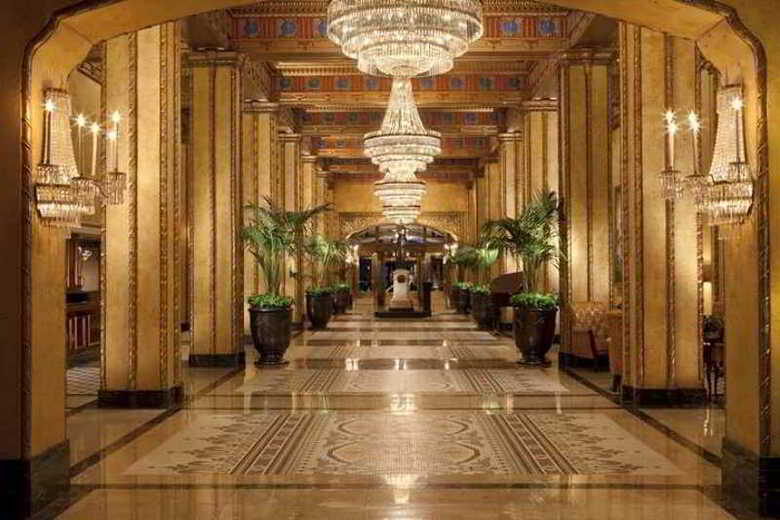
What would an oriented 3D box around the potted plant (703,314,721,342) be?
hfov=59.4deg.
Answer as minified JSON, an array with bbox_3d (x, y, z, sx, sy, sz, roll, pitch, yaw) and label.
[{"bbox_3d":[4.540,0.943,9.553,0.358,0.356,0.364,2,-2,37],"label":"potted plant"}]
